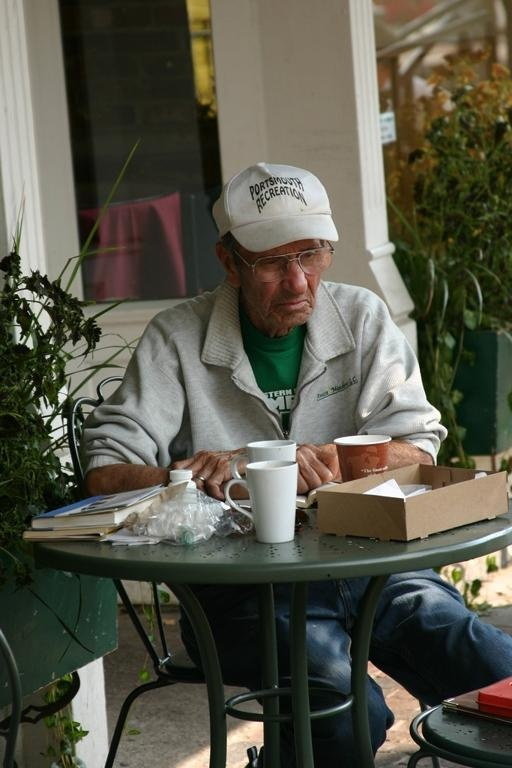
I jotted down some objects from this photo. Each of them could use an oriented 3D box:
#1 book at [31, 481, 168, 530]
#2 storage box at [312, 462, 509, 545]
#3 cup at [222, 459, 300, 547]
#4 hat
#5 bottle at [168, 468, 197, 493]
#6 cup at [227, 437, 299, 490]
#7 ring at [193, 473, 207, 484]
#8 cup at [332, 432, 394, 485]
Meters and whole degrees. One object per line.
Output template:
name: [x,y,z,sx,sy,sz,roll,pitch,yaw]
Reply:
book: [-0.292,0.226,1.363,0.124,0.026,0.120,-12,3,18]
storage box: [0.255,0.148,1.097,0.208,0.056,0.145,-6,6,-43]
cup: [-0.002,0.185,1.107,0.082,0.108,0.121,9,-11,-43]
hat: [0.039,-0.462,1.851,0.296,0.200,0.370,-13,21,-14]
bottle: [-0.129,0.167,1.268,0.049,0.074,0.046,1,-6,0]
cup: [0.000,0.138,1.242,0.123,0.078,0.076,-9,2,20]
ring: [-0.122,0.200,1.537,0.019,0.017,0.015,0,25,-1]
cup: [0.182,0.127,1.264,0.089,0.067,0.090,-1,-4,0]
